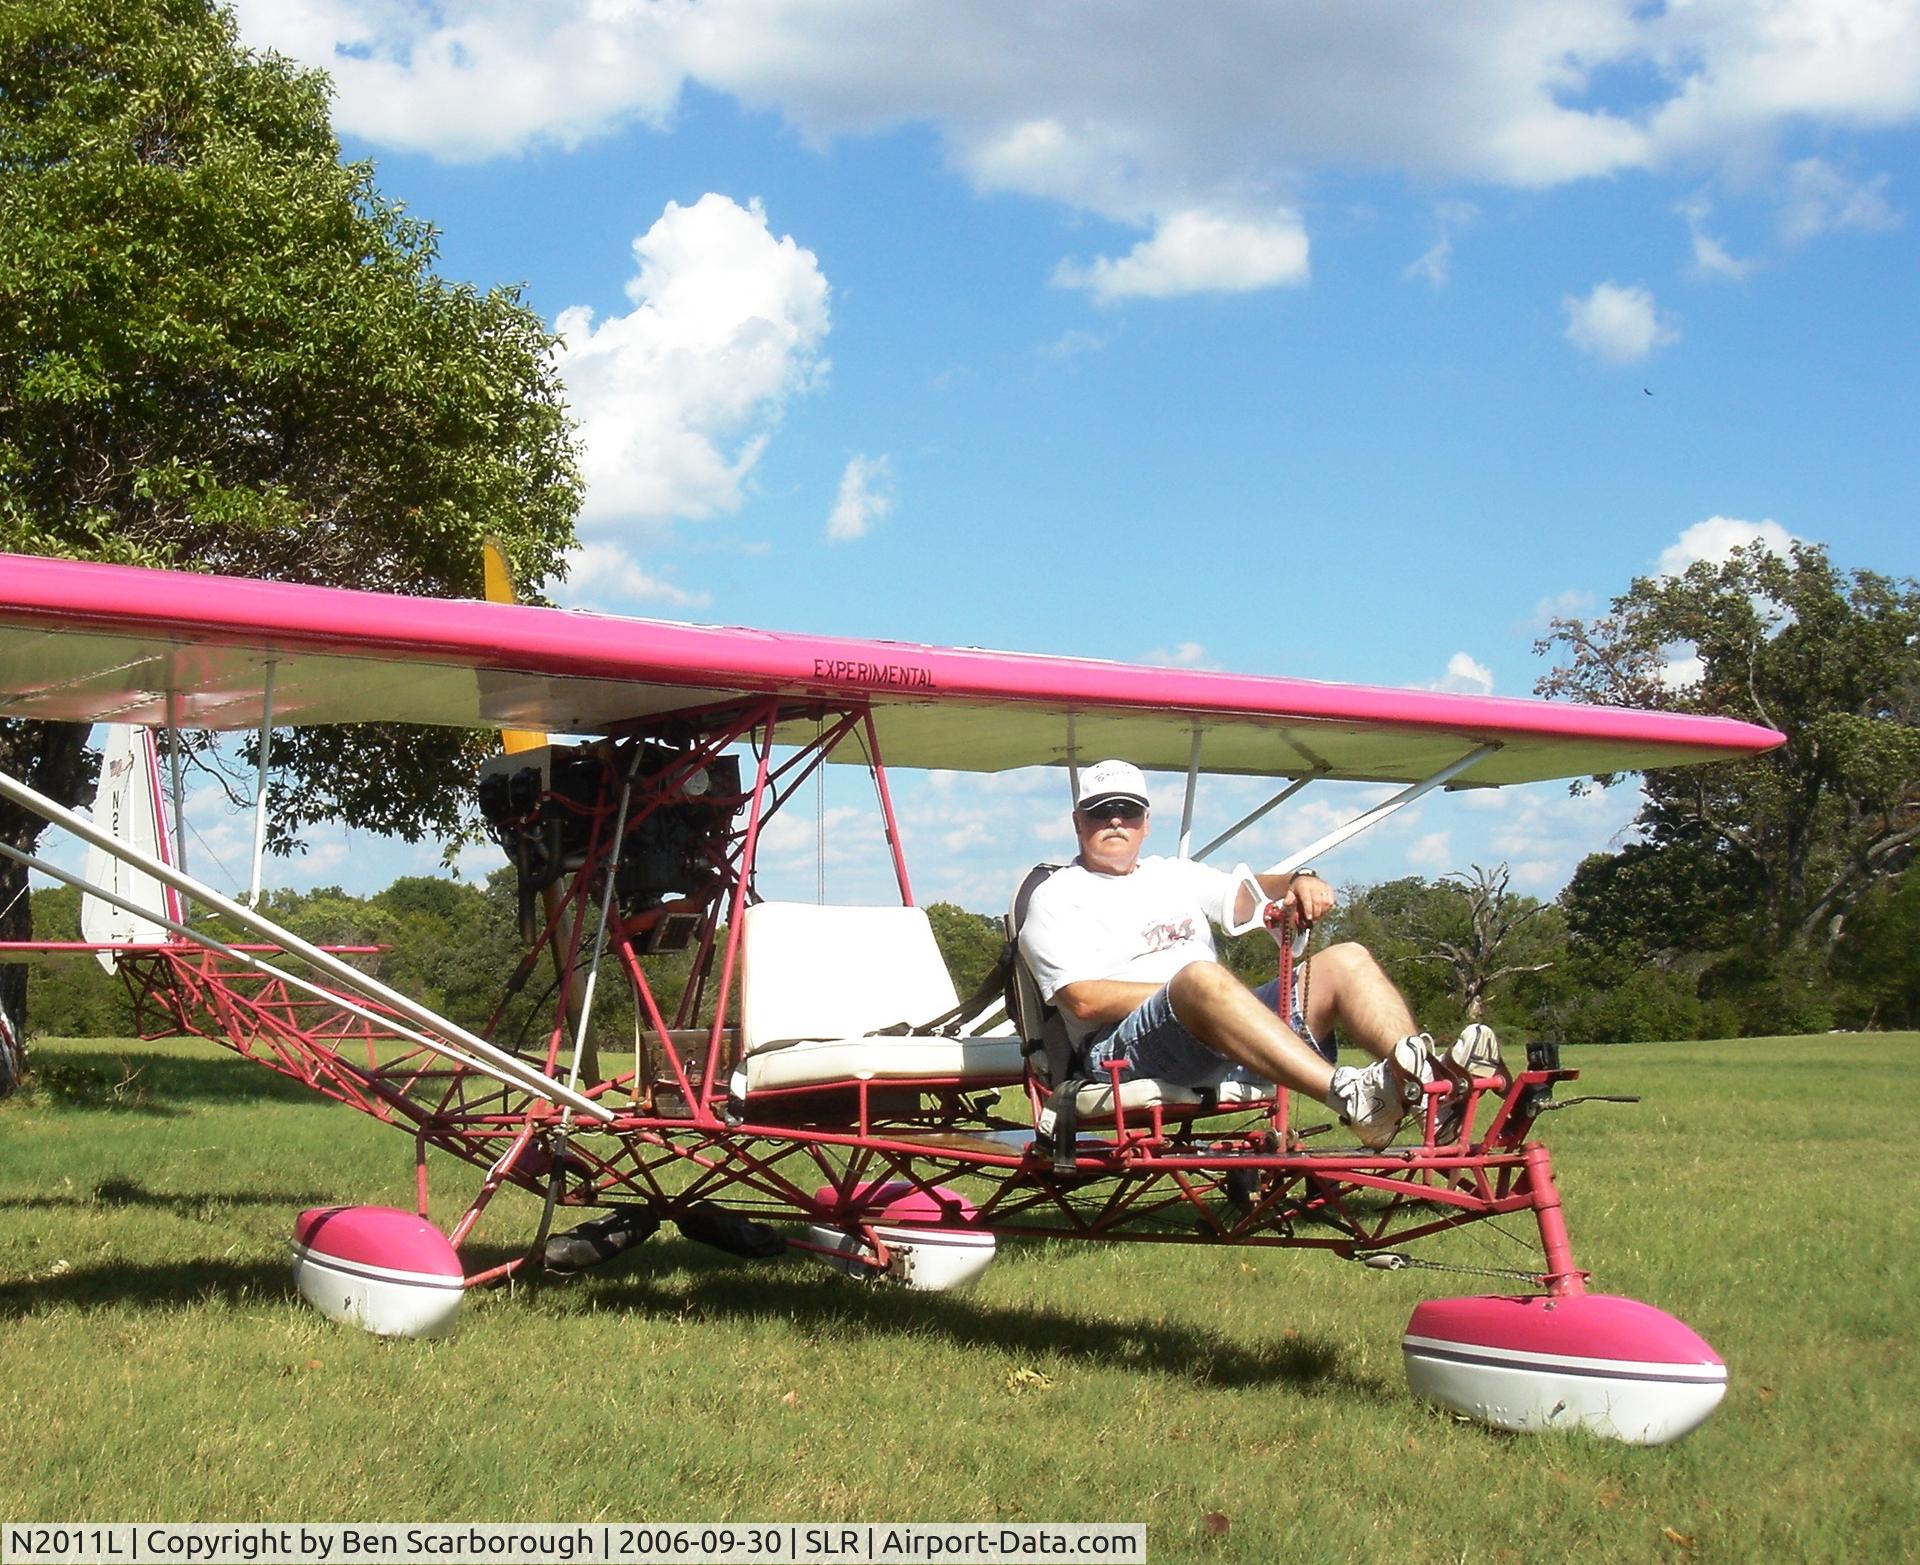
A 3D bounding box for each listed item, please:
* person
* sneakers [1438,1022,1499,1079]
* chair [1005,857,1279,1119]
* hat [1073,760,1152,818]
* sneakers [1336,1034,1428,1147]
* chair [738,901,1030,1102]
[{"bbox_3d":[0.889,0.527,6.530,0.870,1.261,1.704,5,1,-29],"label":"person"},{"bbox_3d":[1.588,0.831,5.812,0.140,0.175,0.241,6,1,24],"label":"sneakers"},{"bbox_3d":[0.810,0.680,6.792,1.129,0.820,0.898,-5,13,28],"label":"chair"},{"bbox_3d":[0.566,0.029,7.119,0.292,0.183,0.375,1,-2,-3],"label":"hat"},{"bbox_3d":[1.308,0.947,5.852,0.225,0.161,0.437,17,-42,-3],"label":"sneakers"},{"bbox_3d":[-0.435,0.843,7.379,0.949,0.501,0.830,4,20,-6],"label":"chair"}]
